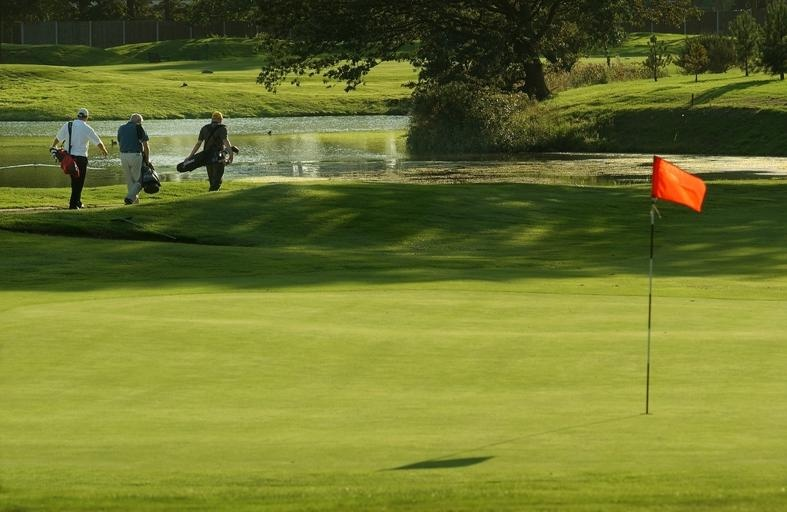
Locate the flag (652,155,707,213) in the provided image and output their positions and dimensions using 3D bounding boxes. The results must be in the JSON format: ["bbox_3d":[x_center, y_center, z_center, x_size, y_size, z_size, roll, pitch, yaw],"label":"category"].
[{"bbox_3d":[9.861,-2.407,60.368,2.446,1.532,0.229,15,-19,-32],"label":"flag"}]
